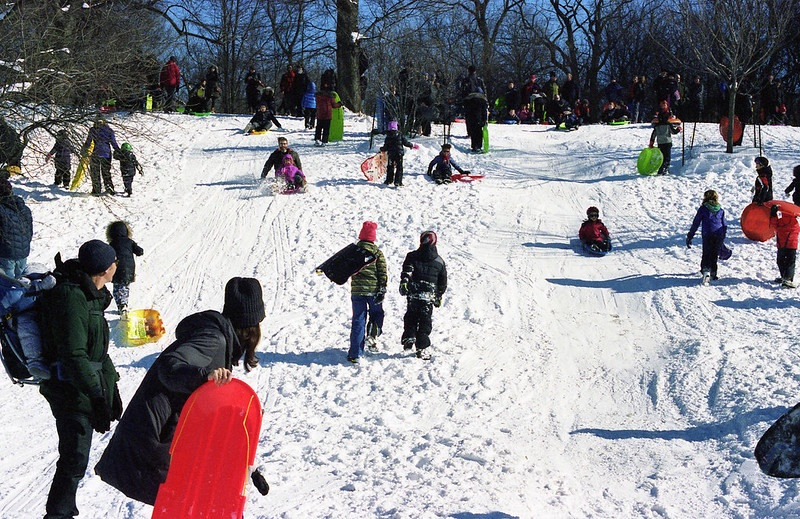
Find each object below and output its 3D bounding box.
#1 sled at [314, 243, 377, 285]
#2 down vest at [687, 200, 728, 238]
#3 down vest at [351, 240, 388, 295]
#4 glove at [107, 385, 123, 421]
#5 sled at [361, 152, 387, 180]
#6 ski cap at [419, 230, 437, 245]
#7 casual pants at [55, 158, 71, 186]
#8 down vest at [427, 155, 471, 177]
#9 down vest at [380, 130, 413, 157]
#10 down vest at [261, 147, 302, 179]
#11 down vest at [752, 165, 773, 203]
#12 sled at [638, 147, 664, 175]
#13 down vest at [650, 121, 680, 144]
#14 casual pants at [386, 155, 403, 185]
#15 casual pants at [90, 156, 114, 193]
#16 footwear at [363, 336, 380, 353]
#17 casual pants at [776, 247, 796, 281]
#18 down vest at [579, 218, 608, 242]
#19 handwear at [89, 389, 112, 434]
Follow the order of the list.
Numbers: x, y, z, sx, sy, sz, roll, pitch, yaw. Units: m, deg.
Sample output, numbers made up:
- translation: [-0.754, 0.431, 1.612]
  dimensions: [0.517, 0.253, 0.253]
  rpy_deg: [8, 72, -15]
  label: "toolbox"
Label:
- translation: [-1.207, -0.104, 15.040]
  dimensions: [0.956, 0.334, 1.200]
  rpy_deg: [-7, 35, -40]
  label: "sled"
- translation: [6.721, -0.868, 17.387]
  dimensions: [0.906, 0.866, 0.407]
  rpy_deg: [-4, 12, -1]
  label: "down vest"
- translation: [-0.583, 0.178, 14.652]
  dimensions: [0.965, 1.039, 0.631]
  rpy_deg: [5, 5, 30]
  label: "down vest"
- translation: [-3.844, 1.973, 10.869]
  dimensions: [0.127, 0.523, 0.169]
  rpy_deg: [7, -8, -34]
  label: "glove"
- translation: [-0.710, -2.581, 22.183]
  dimensions: [0.694, 0.787, 0.396]
  rpy_deg: [0, 10, -6]
  label: "sled"
- translation: [0.550, -0.394, 14.940]
  dimensions: [0.231, 0.301, 0.291]
  rpy_deg: [10, -2, -12]
  label: "ski cap"
- translation: [-8.735, -2.192, 20.747]
  dimensions: [0.348, 0.751, 1.918]
  rpy_deg: [-3, 12, -24]
  label: "casual pants"
- translation: [1.242, -2.608, 22.251]
  dimensions: [0.658, 0.400, 0.844]
  rpy_deg: [-4, 15, -45]
  label: "down vest"
- translation: [-0.190, -3.152, 21.645]
  dimensions: [0.553, 0.688, 0.522]
  rpy_deg: [1, 10, -5]
  label: "down vest"
- translation: [-3.229, -2.615, 21.876]
  dimensions: [1.154, 0.910, 0.385]
  rpy_deg: [0, 7, -10]
  label: "down vest"
- translation: [8.862, -1.815, 19.503]
  dimensions: [0.481, 1.046, 1.421]
  rpy_deg: [1, 22, 28]
  label: "down vest"
- translation: [7.084, -2.766, 22.630]
  dimensions: [0.685, 0.809, 0.470]
  rpy_deg: [4, 10, 15]
  label: "sled"
- translation: [7.433, -3.554, 22.492]
  dimensions: [0.540, 0.766, 0.279]
  rpy_deg: [8, 7, 21]
  label: "down vest"
- translation: [-0.159, -2.439, 21.908]
  dimensions: [0.462, 0.857, 0.499]
  rpy_deg: [1, 10, -5]
  label: "casual pants"
- translation: [-7.745, -2.191, 20.832]
  dimensions: [0.544, 1.060, 1.016]
  rpy_deg: [-2, 11, -21]
  label: "casual pants"
- translation: [-0.458, 1.601, 15.101]
  dimensions: [0.430, 0.312, 0.148]
  rpy_deg: [6, 7, -11]
  label: "footwear"
- translation: [8.323, 0.109, 17.242]
  dimensions: [0.413, 0.744, 0.276]
  rpy_deg: [3, 10, 9]
  label: "casual pants"
- translation: [4.637, -0.681, 19.090]
  dimensions: [0.687, 0.524, 0.404]
  rpy_deg: [4, 11, 13]
  label: "down vest"
- translation: [-3.976, 2.036, 10.754]
  dimensions: [0.321, 0.465, 0.136]
  rpy_deg: [-1, 20, 12]
  label: "handwear"
